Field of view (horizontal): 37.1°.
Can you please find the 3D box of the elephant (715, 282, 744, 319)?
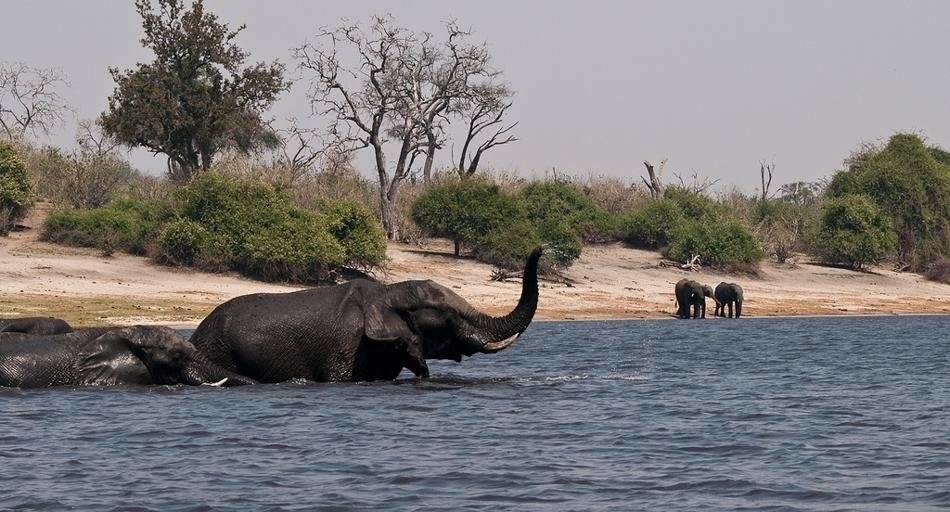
[{"bbox_3d":[12.511,2.056,69.686,0.990,1.687,3.312,3,1,-12],"label":"elephant"}]
